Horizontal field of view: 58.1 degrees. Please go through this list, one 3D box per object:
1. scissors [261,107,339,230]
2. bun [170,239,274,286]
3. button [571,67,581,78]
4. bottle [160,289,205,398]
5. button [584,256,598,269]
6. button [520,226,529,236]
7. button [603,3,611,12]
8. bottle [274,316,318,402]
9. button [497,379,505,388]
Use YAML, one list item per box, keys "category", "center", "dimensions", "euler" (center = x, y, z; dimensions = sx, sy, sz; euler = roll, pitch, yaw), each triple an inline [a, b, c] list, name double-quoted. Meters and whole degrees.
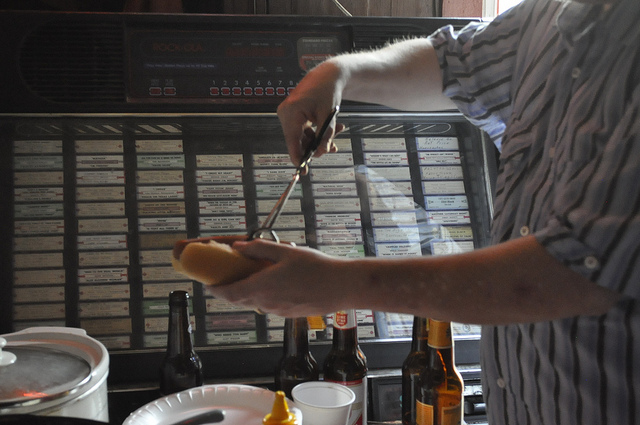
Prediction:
- category: "scissors"
  center: [-0.063, -0.118, 1.629]
  dimensions: [0.049, 0.409, 0.052]
  euler: [22, -15, 39]
- category: "bun"
  center: [-0.190, 0.111, 1.252]
  dimensions: [0.245, 0.079, 0.150]
  euler: [5, 13, -17]
- category: "button"
  center: [0.564, -0.309, 1.265]
  dimensions: [0.008, 0.023, 0.024]
  euler: [0, 2, -22]
- category: "bottle"
  center: [-0.363, 0.335, 1.502]
  dimensions: [0.104, 0.267, 0.086]
  euler: [0, 3, -23]
- category: "button"
  center: [0.525, 0.096, 1.115]
  dimensions: [0.024, 0.025, 0.003]
  euler: [1, 2, 7]
- category: "button"
  center: [0.475, 0.042, 1.340]
  dimensions: [0.008, 0.023, 0.030]
  euler: [1, 2, -11]
- category: "button"
  center: [0.618, -0.444, 1.241]
  dimensions: [0.005, 0.016, 0.019]
  euler: [20, -23, -41]
- category: "bottle"
  center: [-0.062, 0.383, 1.502]
  dimensions: [0.108, 0.351, 0.094]
  euler: [2, 29, 0]
- category: "button"
  center: [0.445, 0.419, 1.412]
  dimensions: [0.007, 0.023, 0.021]
  euler: [0, 3, -26]
